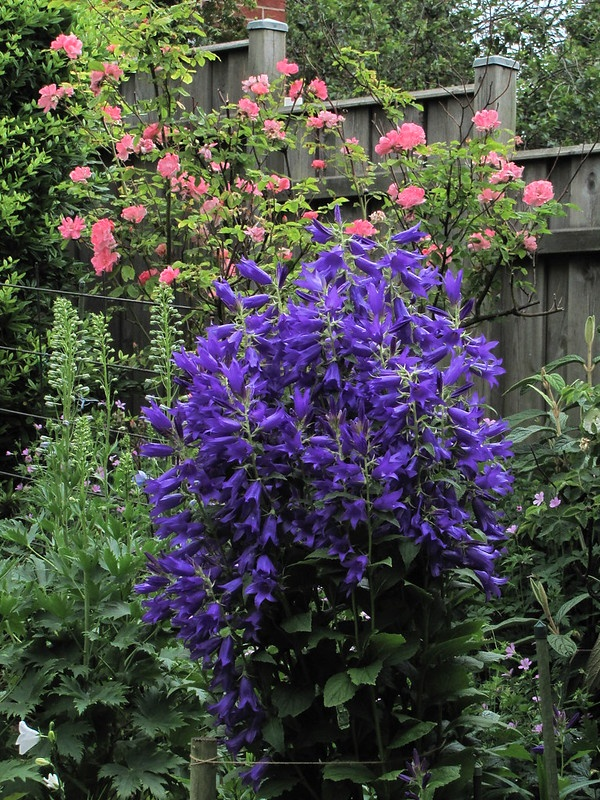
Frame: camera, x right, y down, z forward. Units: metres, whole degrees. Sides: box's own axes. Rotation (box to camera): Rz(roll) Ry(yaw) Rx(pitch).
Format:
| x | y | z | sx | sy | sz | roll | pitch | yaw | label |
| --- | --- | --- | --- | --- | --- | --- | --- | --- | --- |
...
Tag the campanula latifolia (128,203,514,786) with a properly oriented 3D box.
| x | y | z | sx | sy | sz | roll | pitch | yaw | label |
| --- | --- | --- | --- | --- | --- | --- | --- | --- | --- |
| 0.047 | 0.249 | 2.104 | 0.790 | 1.176 | 0.472 | -1 | 0 | 1 | campanula latifolia |
